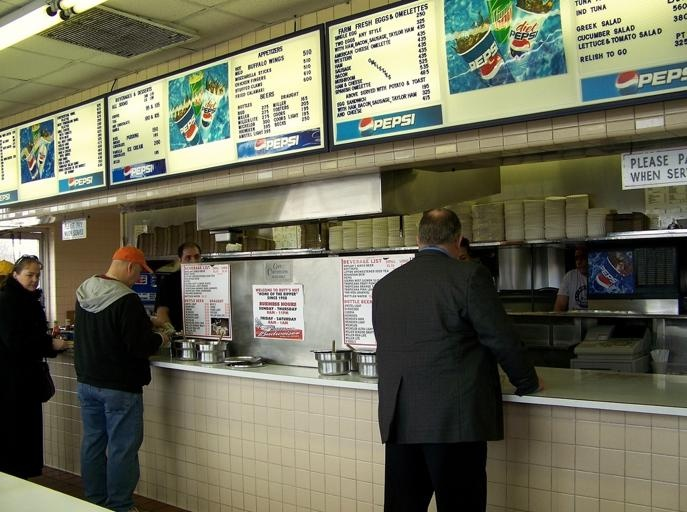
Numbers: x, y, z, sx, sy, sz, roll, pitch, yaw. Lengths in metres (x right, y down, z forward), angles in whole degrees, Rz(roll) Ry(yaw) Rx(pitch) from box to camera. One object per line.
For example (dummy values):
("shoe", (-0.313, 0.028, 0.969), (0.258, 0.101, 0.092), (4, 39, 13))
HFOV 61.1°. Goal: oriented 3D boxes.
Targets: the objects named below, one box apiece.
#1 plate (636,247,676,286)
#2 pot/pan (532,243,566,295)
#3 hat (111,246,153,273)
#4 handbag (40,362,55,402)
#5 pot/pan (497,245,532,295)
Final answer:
("plate", (2.775, 0.094, 5.119), (0.317, 0.335, 0.026), (10, 18, 24))
("pot/pan", (2.336, 0.075, 6.645), (0.411, 0.546, 0.393), (-10, 26, -3))
("hat", (-1.659, 0.047, 4.648), (0.189, 0.148, 0.297), (3, -7, 45))
("handbag", (-2.630, 1.136, 5.175), (0.118, 0.289, 0.215), (14, -12, -22))
("pot/pan", (1.936, 0.185, 6.846), (0.527, 0.629, 0.407), (-3, 2, -21))
